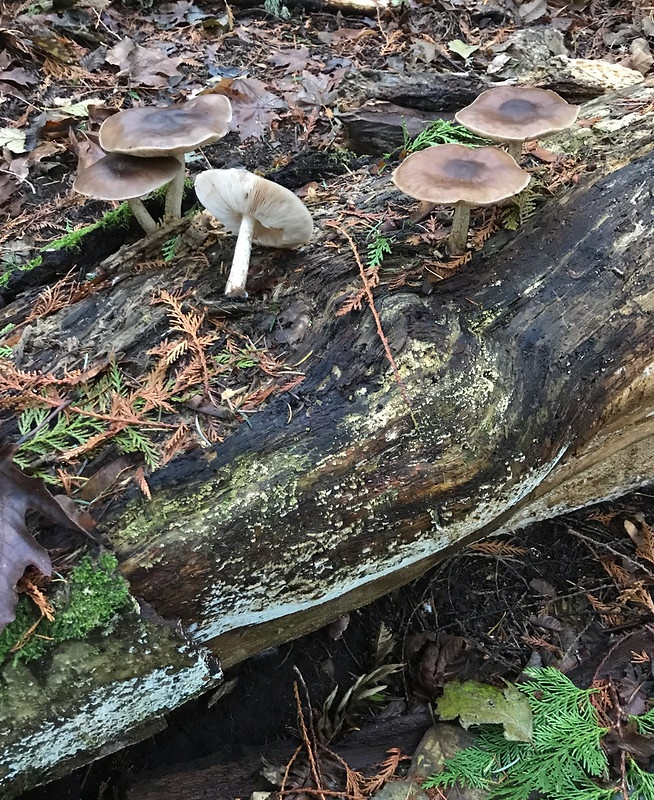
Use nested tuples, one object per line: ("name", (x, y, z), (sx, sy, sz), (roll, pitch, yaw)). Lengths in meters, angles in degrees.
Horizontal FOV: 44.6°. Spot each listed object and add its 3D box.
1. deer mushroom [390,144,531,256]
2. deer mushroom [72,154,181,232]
("deer mushroom", (0.722, -1.120, 4.277), (0.629, 0.449, 0.500), (-3, 52, 3))
("deer mushroom", (-1.115, -1.184, 4.657), (0.554, 0.421, 0.440), (7, 59, 11))
